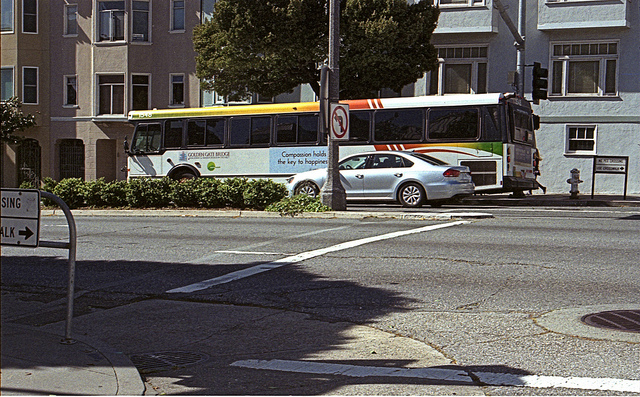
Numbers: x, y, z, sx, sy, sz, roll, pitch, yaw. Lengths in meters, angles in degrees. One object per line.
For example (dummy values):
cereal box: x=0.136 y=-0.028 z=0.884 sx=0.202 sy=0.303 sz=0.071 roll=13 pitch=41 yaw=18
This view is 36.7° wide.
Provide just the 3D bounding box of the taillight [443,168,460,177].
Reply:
taillight: x=4.274 y=-0.825 z=31.696 sx=0.397 sy=0.181 sz=0.263 roll=6 pitch=-1 yaw=13

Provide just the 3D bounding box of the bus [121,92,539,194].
bus: x=-1.212 y=-1.566 z=38.842 sx=18.575 sy=3.985 sz=5.514 roll=0 pitch=-1 yaw=18

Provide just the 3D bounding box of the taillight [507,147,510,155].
taillight: x=6.634 y=-1.646 z=34.085 sx=0.112 sy=0.220 sz=0.037 roll=-4 pitch=5 yaw=-41

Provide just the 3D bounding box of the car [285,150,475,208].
car: x=2.102 y=-0.606 z=33.251 sx=6.819 sy=1.570 sz=2.283 roll=0 pitch=0 yaw=19

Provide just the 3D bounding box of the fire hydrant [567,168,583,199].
fire hydrant: x=9.875 y=-0.535 z=37.603 sx=0.469 sy=1.148 sz=1.149 roll=0 pitch=3 yaw=16
